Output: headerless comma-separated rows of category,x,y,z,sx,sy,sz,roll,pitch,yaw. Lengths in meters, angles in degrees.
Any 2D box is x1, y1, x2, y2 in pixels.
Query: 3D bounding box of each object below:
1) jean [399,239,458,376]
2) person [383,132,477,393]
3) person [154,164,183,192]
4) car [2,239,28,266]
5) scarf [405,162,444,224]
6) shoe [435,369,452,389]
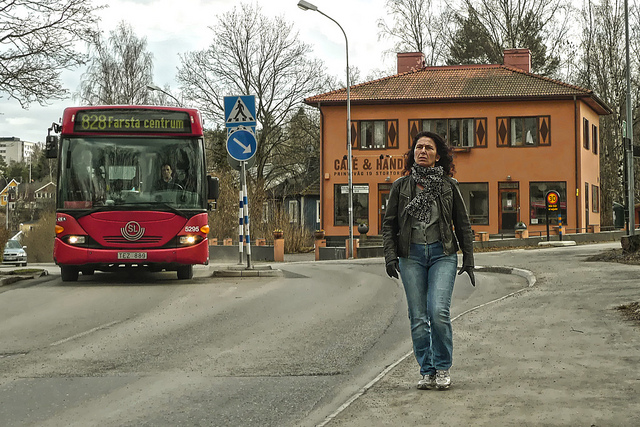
jean,1.247,1.084,7.331,0.646,1.571,0.258,0,2,9
person,1.267,0.522,7.450,1.043,2.979,0.653,-1,2,4
person,-3.707,-0.876,15.393,0.685,0.723,0.374,-4,-10,-9
car,-23.258,2.947,48.371,1.496,1.824,3.281,-2,2,-28
scarf,1.221,-0.244,7.416,0.444,0.714,0.274,0,2,11
shoe,1.401,1.902,7.259,0.129,0.163,0.353,-1,-10,7
